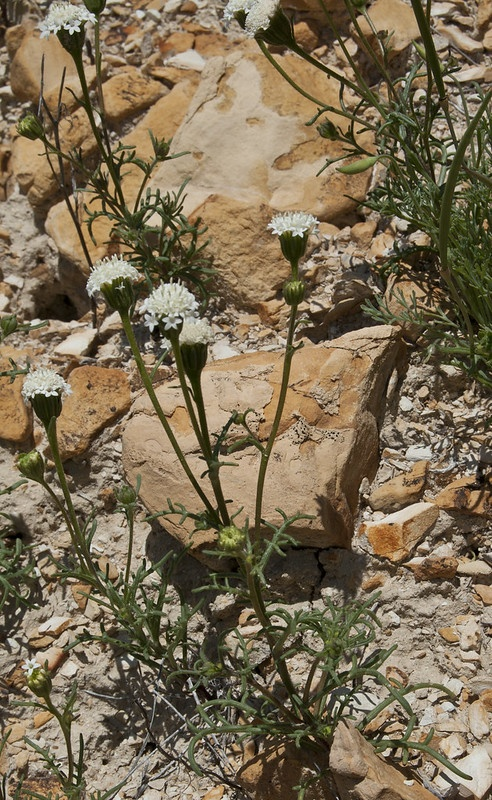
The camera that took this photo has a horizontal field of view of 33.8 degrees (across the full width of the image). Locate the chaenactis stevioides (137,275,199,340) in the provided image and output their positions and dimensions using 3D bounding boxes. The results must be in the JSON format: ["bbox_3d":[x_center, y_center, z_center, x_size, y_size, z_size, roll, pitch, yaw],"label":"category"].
[{"bbox_3d":[-0.194,-0.234,2.159,0.142,0.129,0.141,21,60,43],"label":"chaenactis stevioides"}]

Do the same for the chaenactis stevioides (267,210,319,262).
[{"bbox_3d":[0.128,-0.435,2.213,0.132,0.133,0.112,-5,32,-5],"label":"chaenactis stevioides"}]

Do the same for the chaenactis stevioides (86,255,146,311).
[{"bbox_3d":[-0.382,-0.335,2.324,0.140,0.154,0.167,-16,4,-8],"label":"chaenactis stevioides"}]
